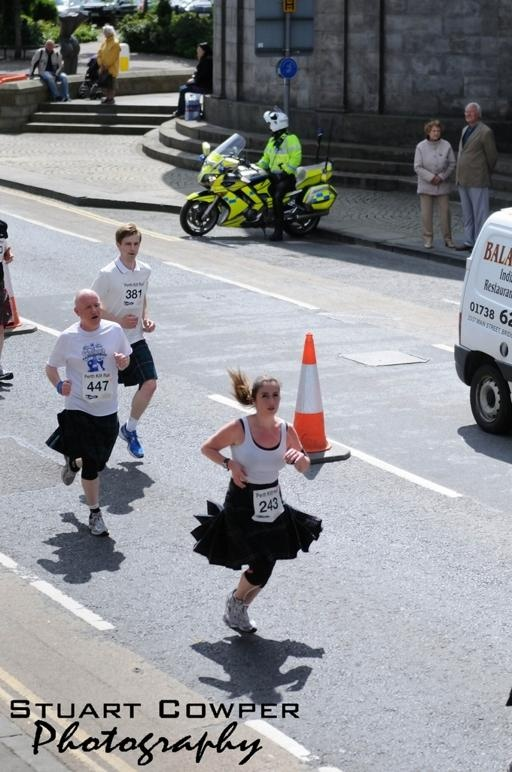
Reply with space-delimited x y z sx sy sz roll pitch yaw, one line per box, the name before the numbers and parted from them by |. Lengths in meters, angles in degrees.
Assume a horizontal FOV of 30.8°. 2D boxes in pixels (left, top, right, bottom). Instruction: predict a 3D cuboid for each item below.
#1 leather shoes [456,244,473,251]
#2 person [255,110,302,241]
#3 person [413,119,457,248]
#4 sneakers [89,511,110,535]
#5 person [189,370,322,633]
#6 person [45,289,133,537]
leather shoes | 3.704 -2.468 16.504 0.325 0.117 0.102 5 9 6
person | 0.431 -3.923 17.285 0.769 2.445 1.230 1 11 0
person | 3.159 -3.510 16.303 0.711 2.174 0.745 8 13 29
sneakers | -1.041 0.894 6.155 0.089 0.088 0.211 -4 8 -20
person | 0.010 0.596 4.682 0.662 1.351 0.324 1 12 -3
person | -1.128 0.149 6.257 0.565 1.589 0.677 0 12 -7
